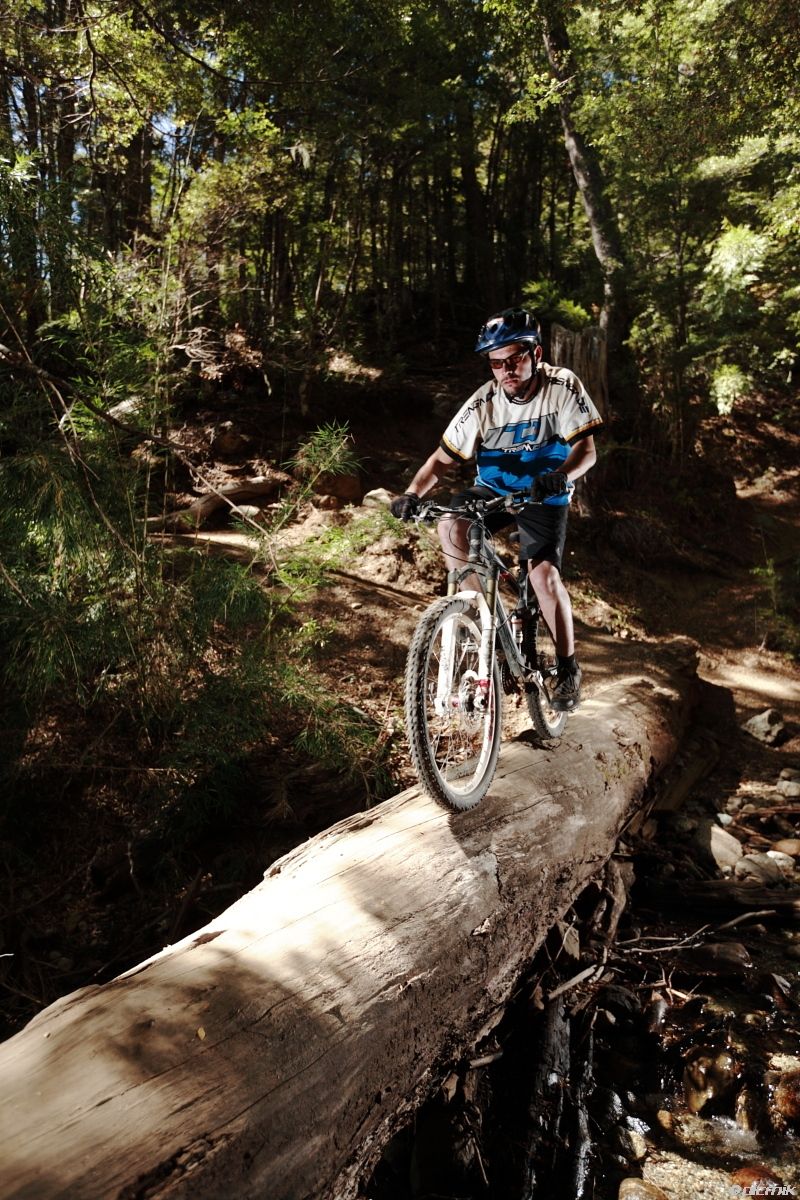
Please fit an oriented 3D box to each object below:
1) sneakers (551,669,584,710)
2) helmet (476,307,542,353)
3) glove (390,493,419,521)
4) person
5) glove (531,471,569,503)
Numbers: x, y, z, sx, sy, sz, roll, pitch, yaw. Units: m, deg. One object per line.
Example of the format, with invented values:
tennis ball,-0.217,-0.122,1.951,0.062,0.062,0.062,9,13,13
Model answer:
sneakers,0.867,0.467,4.718,0.083,0.250,0.184,3,-10,3
helmet,0.494,-1.203,4.196,0.276,0.157,0.185,-9,12,-42
glove,0.014,-0.403,4.007,0.044,0.091,0.122,33,1,-27
person,0.515,-0.324,4.463,0.855,2.023,0.985,1,10,11
glove,0.644,-0.486,3.931,0.110,0.053,0.161,-9,21,23
